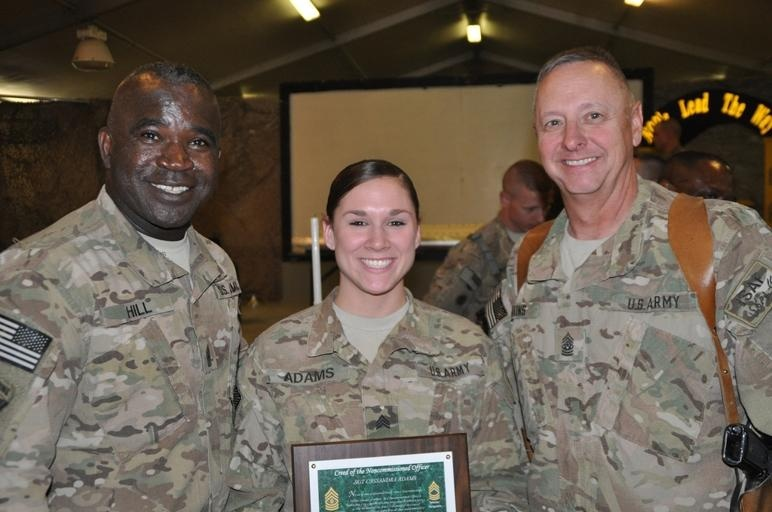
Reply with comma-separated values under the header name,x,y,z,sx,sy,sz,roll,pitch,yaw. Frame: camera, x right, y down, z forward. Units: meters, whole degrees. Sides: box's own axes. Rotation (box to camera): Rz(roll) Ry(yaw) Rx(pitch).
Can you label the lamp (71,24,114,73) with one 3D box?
name,x,y,z,sx,sy,sz,roll,pitch,yaw
lamp,-3.055,-2.248,7.508,0.379,0.382,0.375,6,5,-1
